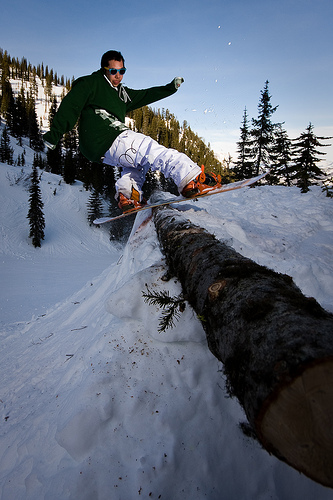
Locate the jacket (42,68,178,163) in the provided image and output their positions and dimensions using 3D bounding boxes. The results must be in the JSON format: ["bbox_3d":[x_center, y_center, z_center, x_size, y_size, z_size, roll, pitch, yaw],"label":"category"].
[{"bbox_3d":[-0.596,-2.048,4.706,1.687,0.706,1.057,-14,30,31],"label":"jacket"}]
